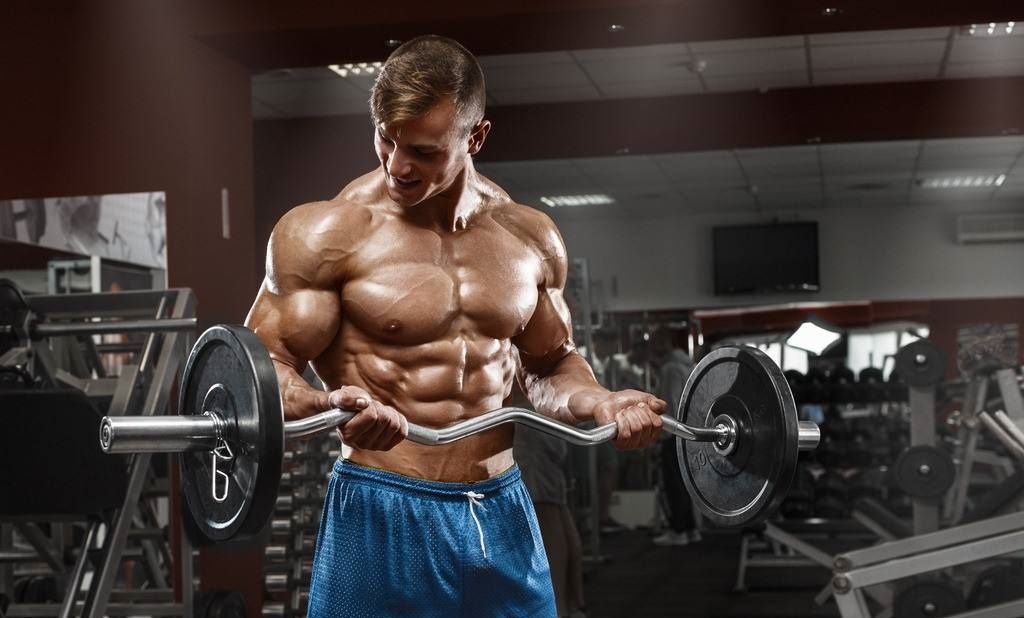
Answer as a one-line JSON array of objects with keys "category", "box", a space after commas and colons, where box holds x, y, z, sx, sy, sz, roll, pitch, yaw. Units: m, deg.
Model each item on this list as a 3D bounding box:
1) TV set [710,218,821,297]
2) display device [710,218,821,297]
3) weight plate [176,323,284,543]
[{"category": "TV set", "box": [1.225, -0.252, 5.106, 0.495, 0.345, 0.058, -1, -1, 10]}, {"category": "display device", "box": [1.225, -0.252, 5.106, 0.495, 0.345, 0.058, -1, -1, 10]}, {"category": "weight plate", "box": [-0.924, 0.396, 3.347, 0.484, 0.694, 0.141, -2, -2, 42]}]
